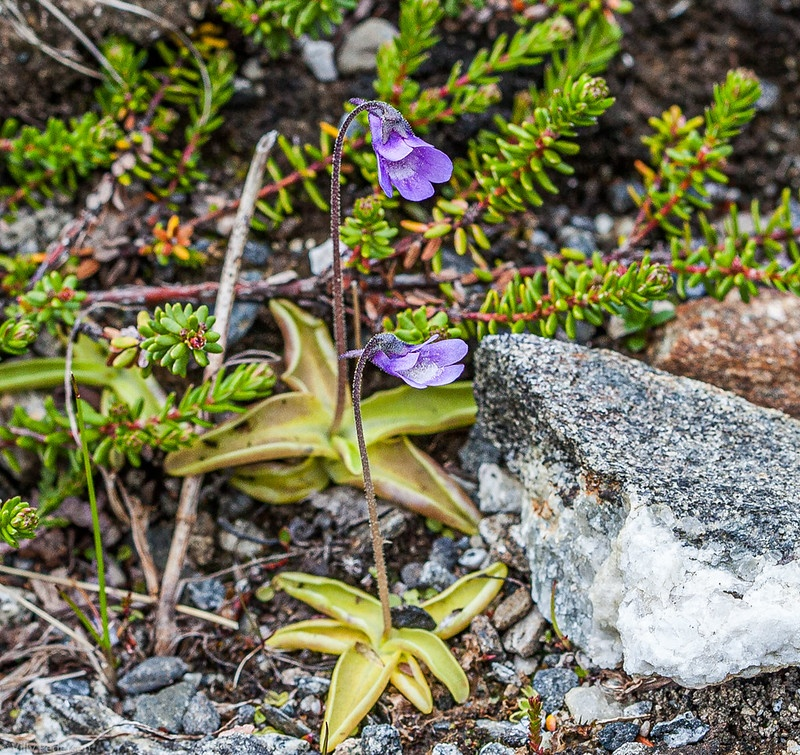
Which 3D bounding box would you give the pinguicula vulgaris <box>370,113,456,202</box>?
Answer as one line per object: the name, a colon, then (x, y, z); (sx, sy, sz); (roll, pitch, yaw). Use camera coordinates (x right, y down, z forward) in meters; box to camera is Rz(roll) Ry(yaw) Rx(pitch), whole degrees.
pinguicula vulgaris: (0.038, -0.859, 3.858); (0.249, 0.398, 0.269); (-4, 20, -21)
